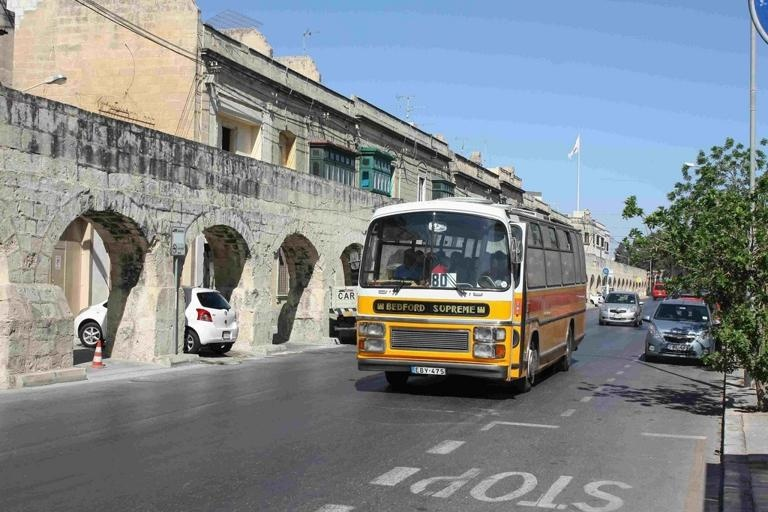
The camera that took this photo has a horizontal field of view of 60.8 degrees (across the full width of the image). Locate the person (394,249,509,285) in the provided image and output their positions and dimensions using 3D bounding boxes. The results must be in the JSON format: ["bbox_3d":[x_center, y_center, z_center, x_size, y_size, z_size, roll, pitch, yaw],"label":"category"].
[{"bbox_3d":[1.534,0.269,14.214,2.362,0.850,0.378,-1,-4,11],"label":"person"}]
